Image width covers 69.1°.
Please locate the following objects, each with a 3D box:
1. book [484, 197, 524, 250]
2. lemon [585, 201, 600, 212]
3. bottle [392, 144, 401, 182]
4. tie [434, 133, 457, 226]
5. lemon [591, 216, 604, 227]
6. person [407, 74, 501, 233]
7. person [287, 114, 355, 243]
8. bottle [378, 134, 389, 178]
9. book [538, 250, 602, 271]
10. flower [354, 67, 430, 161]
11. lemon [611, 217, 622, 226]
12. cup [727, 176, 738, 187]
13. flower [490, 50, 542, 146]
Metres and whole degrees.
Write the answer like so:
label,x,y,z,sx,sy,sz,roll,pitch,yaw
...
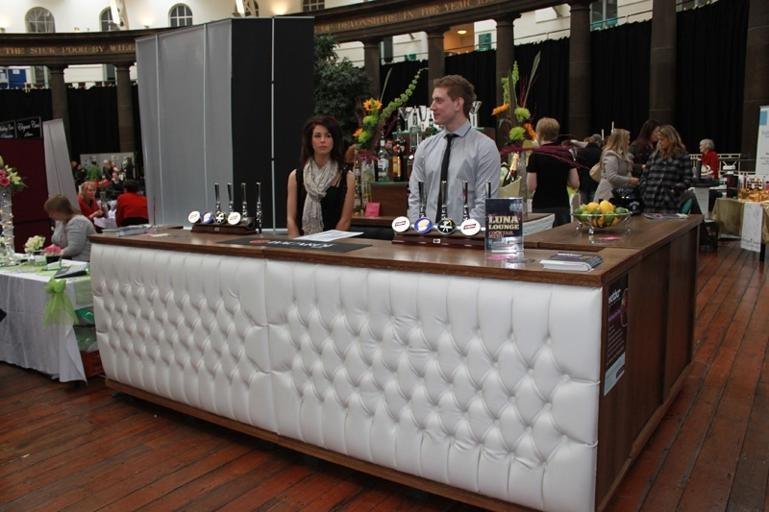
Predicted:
label,x,y,z,sx,sy,sz,roll,pitch,yaw
book,0.656,-0.179,3.104,0.253,0.371,0.047,0,12,6
lemon,1.357,-0.321,3.663,0.065,0.070,0.069,5,26,13
bottle,0.102,-0.802,4.801,0.078,0.293,0.059,3,12,21
tie,0.417,-0.569,3.924,0.085,0.592,0.130,2,9,-32
lemon,1.357,-0.227,3.580,0.048,0.046,0.057,0,2,14
person,0.443,-0.708,3.779,0.645,1.014,0.882,0,11,11
person,-0.509,-0.624,4.376,0.537,0.910,0.311,-3,11,-4
bottle,0.000,-0.851,4.866,0.101,0.338,0.182,2,11,16
book,0.942,0.017,2.850,0.296,0.043,0.321,2,12,19
flower,0.010,-1.272,4.935,0.220,0.764,0.408,19,13,36
lemon,1.475,-0.222,3.586,0.046,0.045,0.054,-1,2,8
cup,5.621,-1.210,9.120,0.178,0.214,0.183,1,-2,0
flower,1.123,-1.315,4.792,0.269,0.627,0.276,1,0,-38
